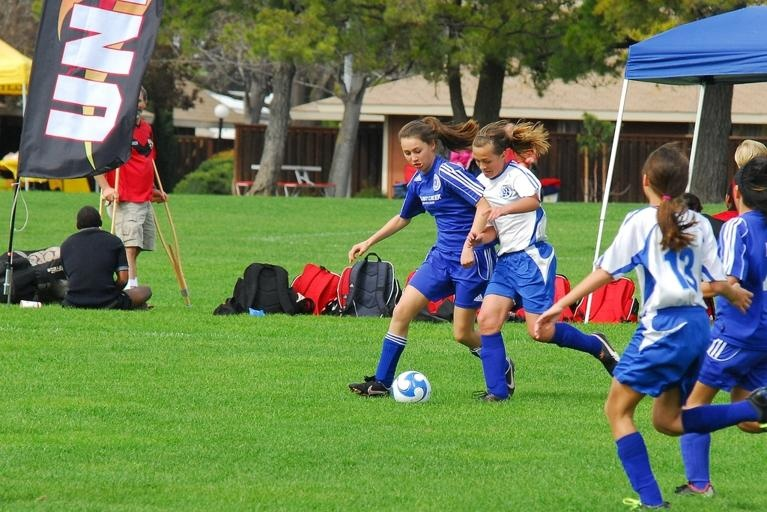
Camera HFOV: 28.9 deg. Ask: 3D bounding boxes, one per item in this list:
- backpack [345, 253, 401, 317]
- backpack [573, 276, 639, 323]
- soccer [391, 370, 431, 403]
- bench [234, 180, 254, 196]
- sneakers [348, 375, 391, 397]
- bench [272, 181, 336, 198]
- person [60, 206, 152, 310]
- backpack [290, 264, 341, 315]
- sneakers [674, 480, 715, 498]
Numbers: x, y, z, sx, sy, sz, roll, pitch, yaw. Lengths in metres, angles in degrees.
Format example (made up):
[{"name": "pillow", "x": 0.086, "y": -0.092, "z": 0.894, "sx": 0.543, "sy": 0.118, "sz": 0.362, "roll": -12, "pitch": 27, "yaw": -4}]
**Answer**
[{"name": "backpack", "x": -0.133, "y": 0.367, "z": 20.837, "sx": 0.403, "sy": 1.158, "sz": 0.896, "roll": 9, "pitch": 37, "yaw": 24}, {"name": "backpack", "x": 3.142, "y": 0.644, "z": 20.247, "sx": 0.856, "sy": 0.305, "sz": 0.889, "roll": 10, "pitch": 42, "yaw": 28}, {"name": "soccer", "x": 0.327, "y": 1.522, "z": 17.063, "sx": 0.423, "sy": 0.367, "sz": 0.370, "roll": -10, "pitch": -16, "yaw": -1}, {"name": "bench", "x": -3.809, "y": -1.910, "z": 40.407, "sx": 0.493, "sy": 0.650, "sz": 0.554, "roll": 0, "pitch": -5, "yaw": -4}, {"name": "sneakers", "x": -0.137, "y": 1.514, "z": 17.339, "sx": 0.546, "sy": 0.260, "sz": 0.200, "roll": 5, "pitch": -1, "yaw": -9}, {"name": "bench", "x": -2.133, "y": -1.920, "z": 40.625, "sx": 1.448, "sy": 0.413, "sz": 2.371, "roll": 3, "pitch": 0, "yaw": -4}, {"name": "person", "x": -3.762, "y": 0.050, "z": 20.269, "sx": 1.237, "sy": 1.453, "sz": 0.886, "roll": 3, "pitch": 19, "yaw": 8}, {"name": "backpack", "x": -0.942, "y": 0.455, "z": 20.685, "sx": 0.653, "sy": 0.711, "sz": 0.426, "roll": 3, "pitch": 0, "yaw": -3}, {"name": "sneakers", "x": 3.232, "y": 2.448, "z": 15.419, "sx": 0.416, "sy": 0.178, "sz": 0.155, "roll": 4, "pitch": 2, "yaw": 10}]
